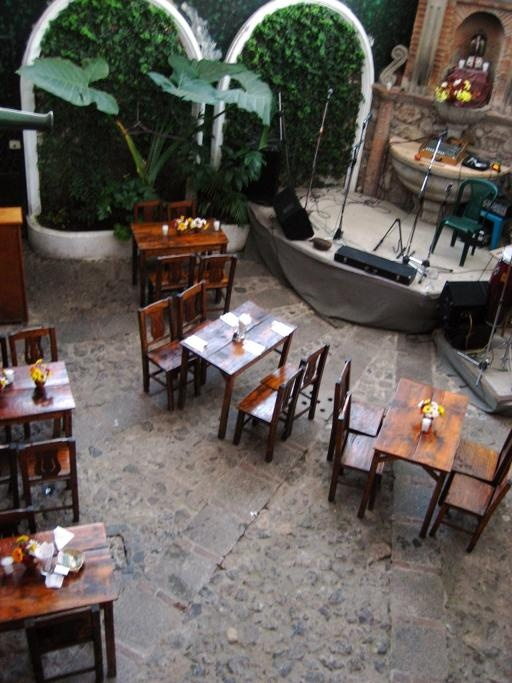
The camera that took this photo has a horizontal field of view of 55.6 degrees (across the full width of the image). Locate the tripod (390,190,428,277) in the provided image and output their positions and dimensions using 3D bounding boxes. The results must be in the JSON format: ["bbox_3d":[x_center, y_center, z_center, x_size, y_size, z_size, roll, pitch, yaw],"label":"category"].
[{"bbox_3d":[2.173,-1.575,6.767,0.497,1.078,0.419,20,31,31],"label":"tripod"}]
